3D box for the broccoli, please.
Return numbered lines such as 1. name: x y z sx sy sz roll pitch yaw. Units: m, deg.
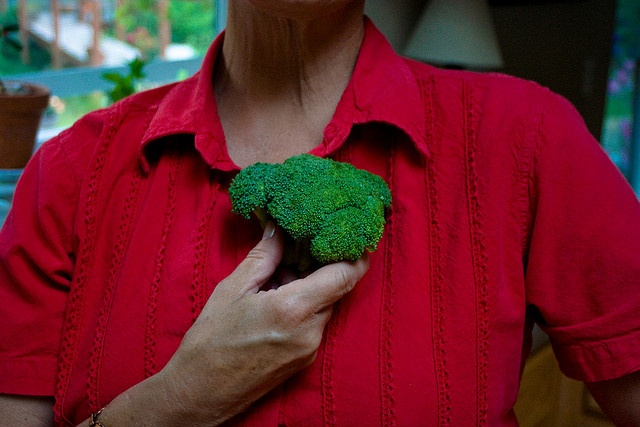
1. broccoli: -0.022 0.008 1.349 0.333 0.192 0.341 13 13 39
